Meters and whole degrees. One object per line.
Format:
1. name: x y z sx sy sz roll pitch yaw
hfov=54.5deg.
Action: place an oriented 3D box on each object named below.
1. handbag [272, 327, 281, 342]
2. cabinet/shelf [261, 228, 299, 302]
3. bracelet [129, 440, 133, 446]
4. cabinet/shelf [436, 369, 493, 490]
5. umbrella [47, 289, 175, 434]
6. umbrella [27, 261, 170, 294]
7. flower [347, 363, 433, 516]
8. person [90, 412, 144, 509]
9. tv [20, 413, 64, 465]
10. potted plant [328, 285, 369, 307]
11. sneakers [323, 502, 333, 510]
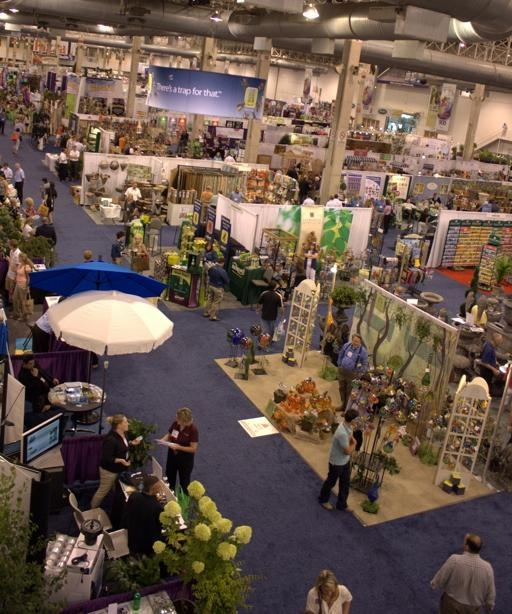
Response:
1. handbag: 0.400 0.541 9.692 0.191 0.328 0.185 0 24 -7
2. cabinet/shelf: 0.517 -0.905 11.201 0.745 1.962 0.977 -14 31 -20
3. bracelet: -1.214 1.320 4.832 0.035 0.057 0.060 8 -14 -26
4. cabinet/shelf: 2.618 1.549 6.229 0.440 1.444 0.995 16 13 27
5. umbrella: -1.558 0.398 5.198 0.892 0.986 0.858 29 36 25
6. umbrella: -2.136 -0.384 6.681 0.737 0.264 0.740 5 -13 19
7. flower: 1.734 1.718 6.355 0.889 1.597 0.893 18 43 19
8. person: -1.332 1.495 4.757 0.377 1.062 0.434 9 12 -4
9. tv: -1.912 1.174 4.471 0.102 0.382 0.624 12 12 12
10. potted plant: 1.600 -0.158 8.544 0.650 0.434 0.435 14 13 22
11. sneakers: 0.793 2.172 5.437 0.045 0.053 0.130 -1 0 -19
